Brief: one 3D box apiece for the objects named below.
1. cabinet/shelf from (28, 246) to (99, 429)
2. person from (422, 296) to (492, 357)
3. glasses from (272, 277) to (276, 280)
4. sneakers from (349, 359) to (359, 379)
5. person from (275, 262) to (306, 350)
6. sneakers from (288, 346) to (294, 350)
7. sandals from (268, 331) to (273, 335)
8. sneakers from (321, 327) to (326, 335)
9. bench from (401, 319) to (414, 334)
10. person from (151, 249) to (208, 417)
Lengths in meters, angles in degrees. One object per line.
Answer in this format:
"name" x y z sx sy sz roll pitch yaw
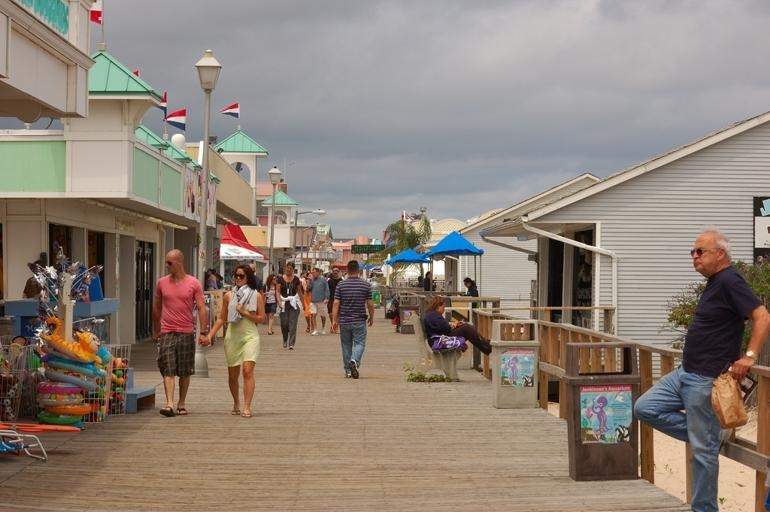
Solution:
"cabinet/shelf" -4.459 1.072 14.332 0.932 2.404 1.695 -1 7 -19
"person" 1.468 1.280 19.142 1.509 0.987 0.623 6 -3 -6
"glasses" -3.002 0.548 27.479 0.056 0.070 0.072 3 -13 -6
"sneakers" -0.604 2.092 19.123 0.155 0.369 0.164 -8 1 9
"person" -2.403 1.222 25.526 0.598 2.106 1.585 0 7 -6
"sneakers" -2.324 2.216 25.045 0.077 0.082 0.217 0 4 3
"sandals" -3.286 2.158 29.191 0.126 0.094 0.316 8 -3 -11
"sneakers" -1.886 2.245 31.080 0.162 0.171 0.157 2 -4 4
"bench" 0.712 2.185 32.019 0.429 0.338 0.750 1 6 0
"person" -3.016 1.107 14.913 0.746 2.474 0.885 0 7 -11
